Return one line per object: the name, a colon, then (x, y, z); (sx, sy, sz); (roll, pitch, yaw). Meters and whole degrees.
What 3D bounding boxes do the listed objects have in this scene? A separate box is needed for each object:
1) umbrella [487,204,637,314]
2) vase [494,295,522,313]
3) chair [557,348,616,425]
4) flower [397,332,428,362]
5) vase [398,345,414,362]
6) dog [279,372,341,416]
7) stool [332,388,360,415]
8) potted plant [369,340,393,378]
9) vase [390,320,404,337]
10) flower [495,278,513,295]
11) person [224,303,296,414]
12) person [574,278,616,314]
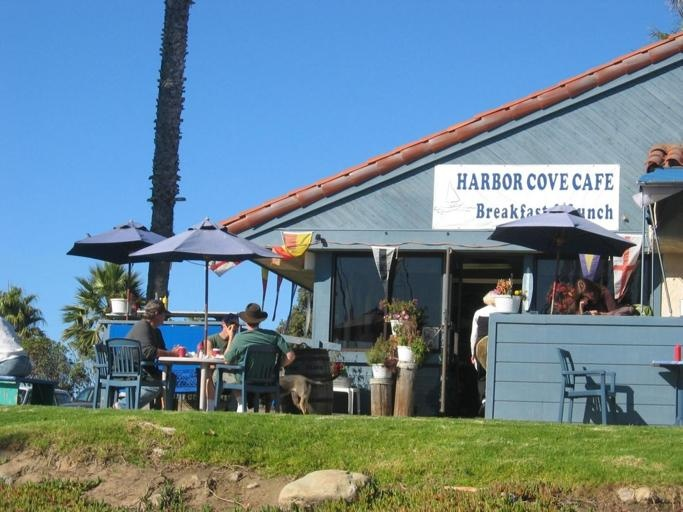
umbrella: (3.352, -0.190, 16.977); (1.755, 1.491, 1.840); (-6, -11, 41)
vase: (2.562, 0.758, 16.793); (0.368, 0.301, 0.393); (0, 11, 6)
chair: (3.494, 1.901, 15.688); (0.914, 1.475, 0.955); (-1, -4, 16)
flower: (1.166, 1.530, 17.938); (0.373, 0.340, 0.427); (3, -12, -7)
vase: (1.014, 1.610, 17.817); (0.177, 0.235, 0.327); (-11, 15, -43)
dog: (-0.662, 2.142, 16.647); (0.511, 0.787, 0.523); (0, -5, 3)
stool: (0.090, 2.492, 18.612); (0.415, 0.460, 0.448); (-3, -10, 21)
potted plant: (0.676, 1.754, 18.044); (0.456, 0.659, 0.524); (-1, -14, 6)
vase: (0.927, 1.218, 18.246); (0.218, 0.191, 0.227); (3, -7, -17)
flower: (2.564, 0.474, 17.129); (0.214, 0.331, 0.121); (3, -24, 14)
person: (-1.255, 1.446, 16.243); (0.960, 1.418, 0.691); (-7, 5, -17)
person: (3.981, 0.618, 17.100); (0.671, 0.518, 0.312); (-4, 11, -18)
